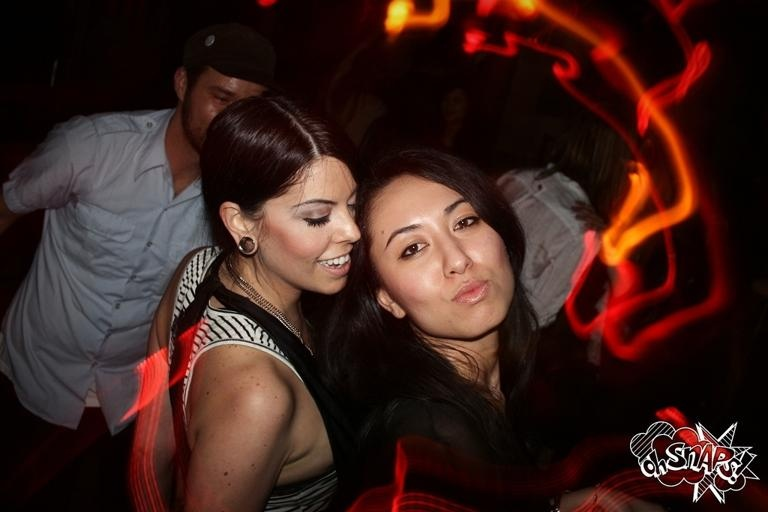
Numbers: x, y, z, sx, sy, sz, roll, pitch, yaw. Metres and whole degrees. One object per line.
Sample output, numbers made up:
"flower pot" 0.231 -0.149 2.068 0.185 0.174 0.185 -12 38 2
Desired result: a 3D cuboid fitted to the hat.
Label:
"hat" -1.424 -1.805 5.531 0.713 0.482 0.575 0 13 0
